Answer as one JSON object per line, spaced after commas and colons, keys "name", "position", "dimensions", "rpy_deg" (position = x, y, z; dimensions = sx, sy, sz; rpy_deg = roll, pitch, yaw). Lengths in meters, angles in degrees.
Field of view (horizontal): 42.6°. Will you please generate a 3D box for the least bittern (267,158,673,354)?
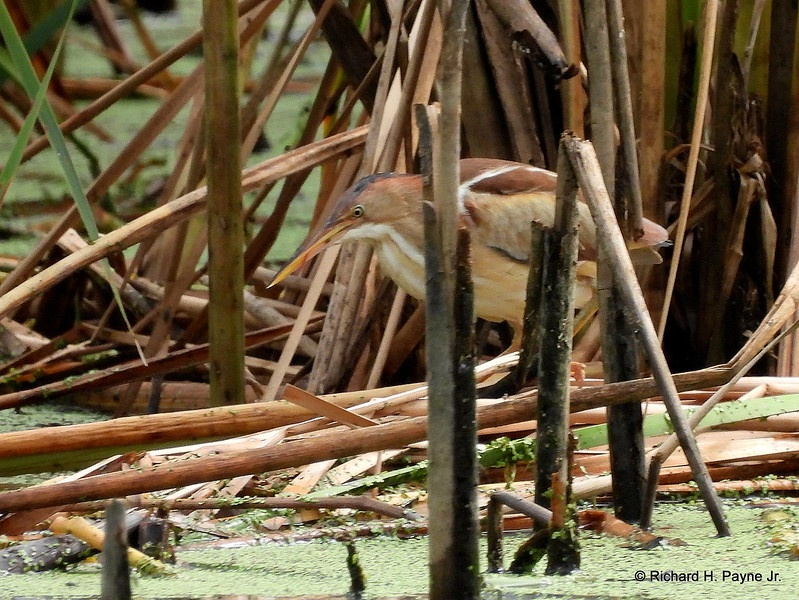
{"name": "least bittern", "position": [0.181, -0.079, 1.890], "dimensions": [0.538, 0.311, 0.530], "rpy_deg": [1, 4, 26]}
